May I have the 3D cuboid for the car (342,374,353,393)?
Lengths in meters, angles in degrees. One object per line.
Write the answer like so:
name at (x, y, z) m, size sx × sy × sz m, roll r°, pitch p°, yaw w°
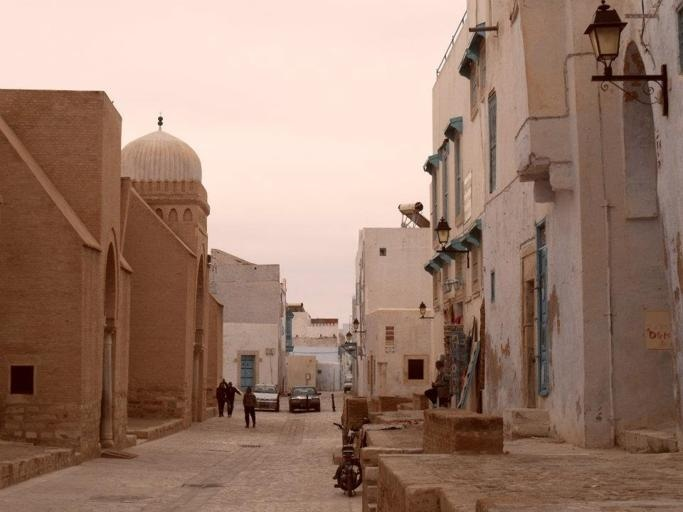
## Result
car at (0.509, 10.168, 86.820) m, size 0.913 × 0.813 × 1.800 m, roll -1°, pitch -6°, yaw 0°

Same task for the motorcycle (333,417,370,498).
motorcycle at (0.183, 3.713, 19.315) m, size 0.540 × 0.723 × 1.184 m, roll 1°, pitch -3°, yaw 1°

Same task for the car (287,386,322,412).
car at (-1.682, 6.501, 49.151) m, size 1.527 × 1.287 × 2.887 m, roll 0°, pitch -8°, yaw -5°
